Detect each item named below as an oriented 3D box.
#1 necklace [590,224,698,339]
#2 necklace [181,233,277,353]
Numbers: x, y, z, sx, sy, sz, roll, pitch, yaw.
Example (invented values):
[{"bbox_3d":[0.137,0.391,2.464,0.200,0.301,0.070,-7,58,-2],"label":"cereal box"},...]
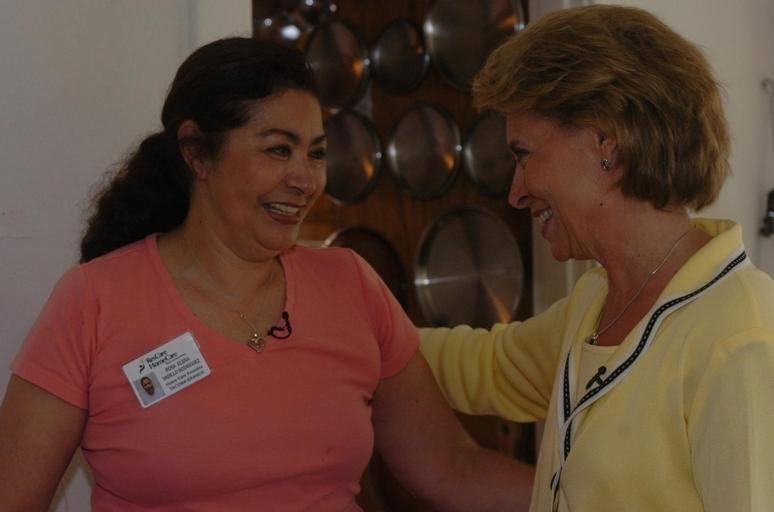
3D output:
[{"bbox_3d":[0.609,0.055,1.758,0.049,0.045,0.364,-3,-40,-32],"label":"necklace"},{"bbox_3d":[-0.428,0.109,1.964,0.215,0.317,0.107,-22,1,-36],"label":"necklace"}]
